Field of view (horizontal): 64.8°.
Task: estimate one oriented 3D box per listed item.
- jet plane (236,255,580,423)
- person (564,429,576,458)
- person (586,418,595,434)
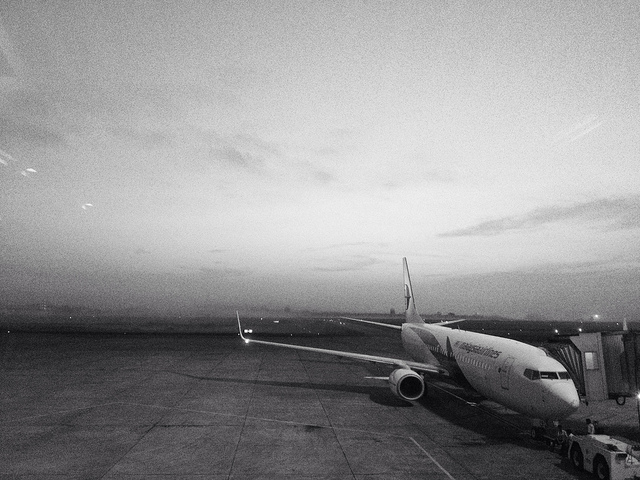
[{"bbox_3d":[8.980,8.835,36.157,19.525,6.002,16.308,1,-1,-16],"label":"jet plane"},{"bbox_3d":[14.044,11.545,28.509,0.490,1.250,0.959,8,3,11],"label":"person"},{"bbox_3d":[15.142,10.353,28.136,0.333,0.858,0.996,0,-1,27],"label":"person"}]
